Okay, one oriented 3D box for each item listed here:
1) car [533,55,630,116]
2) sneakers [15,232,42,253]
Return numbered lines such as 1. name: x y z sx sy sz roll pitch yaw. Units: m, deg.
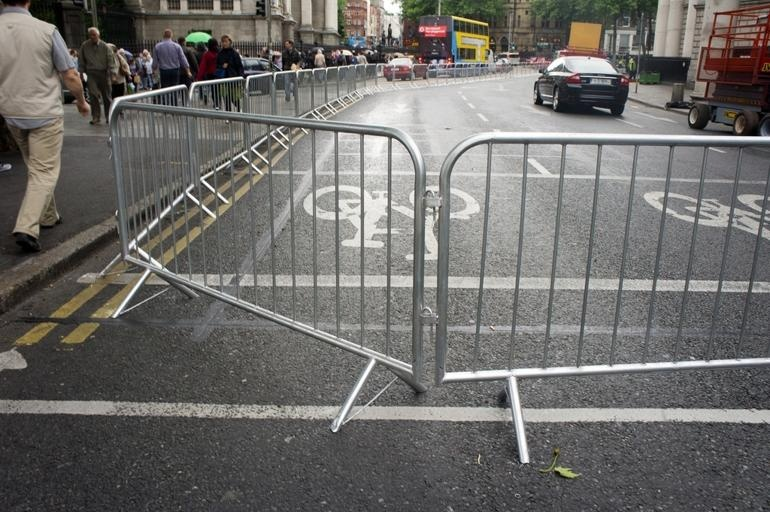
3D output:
1. car: 7.764 -6.828 22.461 2.349 2.241 3.527 -2 27 -5
2. sneakers: -3.966 -0.146 6.236 0.153 0.162 0.329 -6 13 -39
